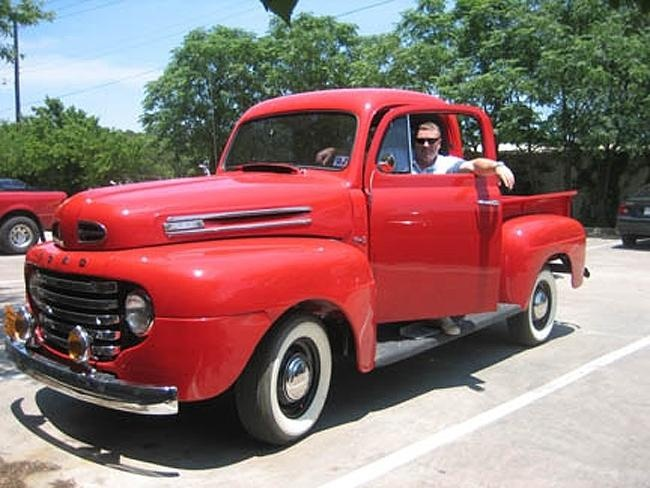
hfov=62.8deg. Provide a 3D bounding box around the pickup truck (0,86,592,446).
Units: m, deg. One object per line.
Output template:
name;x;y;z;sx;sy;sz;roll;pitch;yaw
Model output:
pickup truck;0.109;0.139;5.141;4.944;2.084;2.567;0;-2;-40

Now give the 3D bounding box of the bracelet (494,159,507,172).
bracelet;1.569;-0.700;4.702;0.091;0.119;0.109;-5;4;5
